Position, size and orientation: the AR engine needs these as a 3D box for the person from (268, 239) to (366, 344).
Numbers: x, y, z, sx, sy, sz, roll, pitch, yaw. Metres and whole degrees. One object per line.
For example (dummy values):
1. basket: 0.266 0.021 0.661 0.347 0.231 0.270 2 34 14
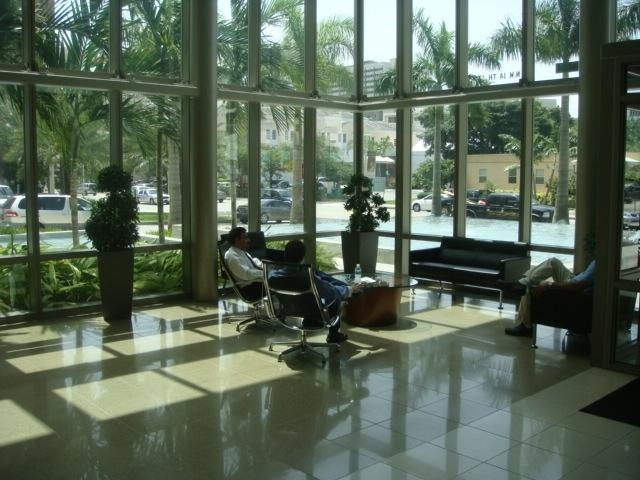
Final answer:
1. person: -0.139 0.722 7.739 1.078 1.602 0.990 -6 22 1

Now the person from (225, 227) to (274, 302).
1. person: -1.044 0.400 8.966 0.653 1.136 0.568 -13 6 -12

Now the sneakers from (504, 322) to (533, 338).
1. sneakers: 2.777 1.267 8.539 0.397 0.171 0.149 3 0 15

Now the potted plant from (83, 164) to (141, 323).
1. potted plant: -3.078 0.065 9.085 0.739 2.304 0.345 -4 11 -19

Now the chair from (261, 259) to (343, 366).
1. chair: -0.447 0.843 7.974 1.191 1.533 1.182 2 5 26
